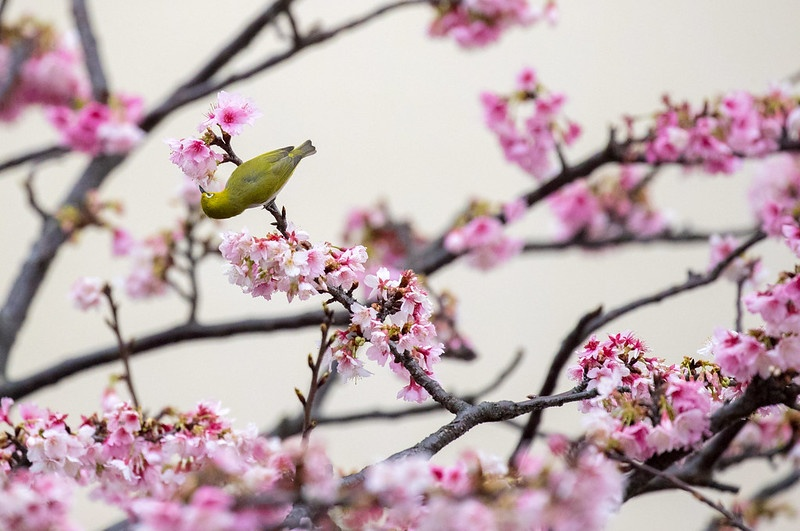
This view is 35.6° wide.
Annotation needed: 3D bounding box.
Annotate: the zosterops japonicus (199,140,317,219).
[{"bbox_3d":[-0.486,-0.306,4.228,0.381,0.271,0.154,-17,-58,7],"label":"zosterops japonicus"}]
